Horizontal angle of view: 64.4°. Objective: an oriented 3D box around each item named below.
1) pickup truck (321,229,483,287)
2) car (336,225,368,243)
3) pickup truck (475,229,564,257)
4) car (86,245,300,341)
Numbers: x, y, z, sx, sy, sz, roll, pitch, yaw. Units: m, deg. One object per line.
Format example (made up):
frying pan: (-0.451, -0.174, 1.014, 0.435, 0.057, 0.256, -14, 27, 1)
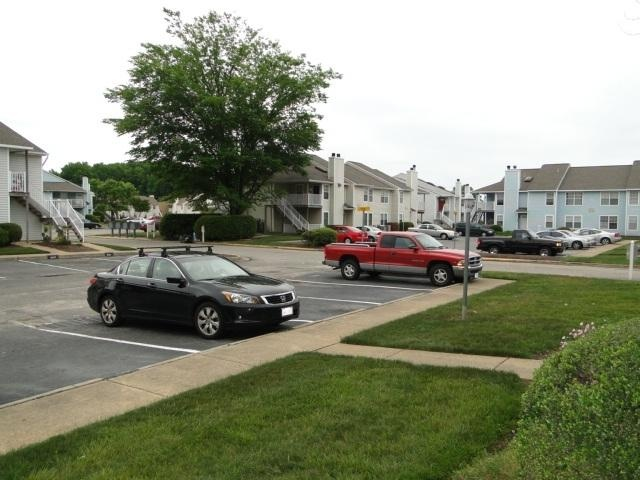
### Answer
pickup truck: (3.104, 0.678, 19.148, 5.456, 1.509, 2.229, -1, 2, 29)
car: (2.371, -0.417, 40.423, 2.725, 0.776, 1.204, 6, 5, 28)
pickup truck: (13.238, 0.290, 33.186, 4.832, 1.475, 2.135, -1, 0, 21)
car: (-2.886, 1.120, 11.492, 4.454, 1.350, 1.968, -1, 0, 24)
